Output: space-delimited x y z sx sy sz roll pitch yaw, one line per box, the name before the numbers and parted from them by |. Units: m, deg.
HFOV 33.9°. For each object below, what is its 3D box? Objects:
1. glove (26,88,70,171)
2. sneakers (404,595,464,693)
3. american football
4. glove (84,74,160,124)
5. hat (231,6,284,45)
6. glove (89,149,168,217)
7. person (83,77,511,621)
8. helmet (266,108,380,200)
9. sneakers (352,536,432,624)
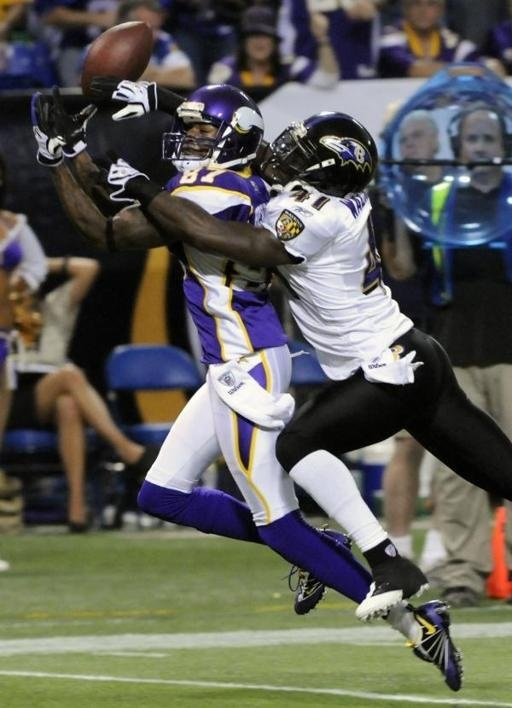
glove | -0.542 -0.576 2.186 0.095 0.238 0.108 -3 8 -15
sneakers | 0.420 0.671 1.958 0.102 0.213 0.075 -36 -12 0
american football | -0.408 -0.849 2.411 0.161 0.136 0.231 9 42 37
glove | -0.386 -0.686 2.298 0.196 0.057 0.138 8 55 32
hat | 0.000 -2.600 6.625 0.318 0.183 0.425 0 2 2
glove | -0.337 -0.431 2.164 0.200 0.083 0.301 -46 24 -7
person | 0.221 -0.002 2.030 0.537 1.103 0.643 -22 28 -31
helmet | 0.131 -0.493 2.078 0.266 0.193 0.211 32 22 22
sneakers | 0.295 0.533 1.948 0.128 0.175 0.164 13 29 38
